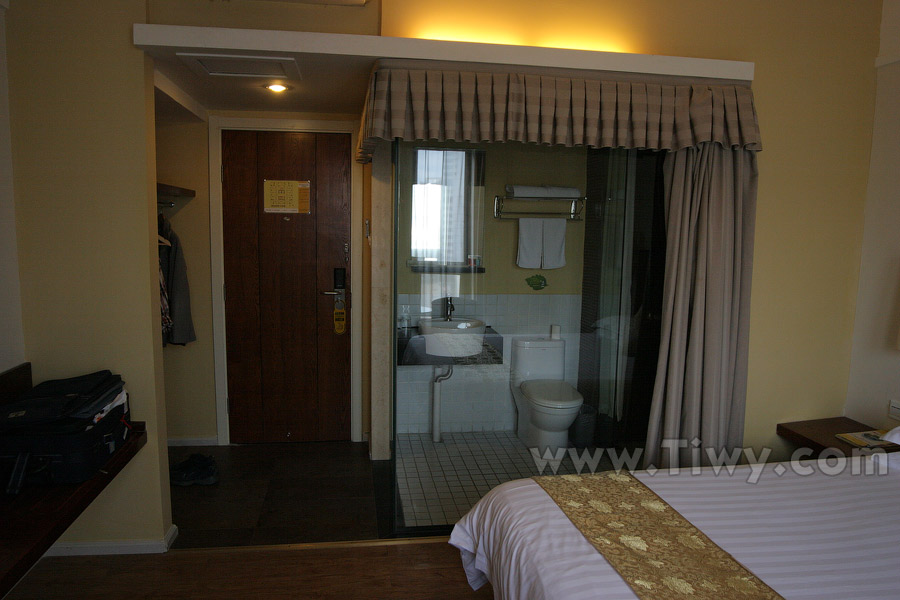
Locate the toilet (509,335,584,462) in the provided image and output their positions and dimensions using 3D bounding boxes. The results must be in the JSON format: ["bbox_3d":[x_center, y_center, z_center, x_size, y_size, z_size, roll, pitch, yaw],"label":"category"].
[{"bbox_3d":[0.659,0.643,4.485,0.397,0.679,0.633,0,12,-15],"label":"toilet"}]

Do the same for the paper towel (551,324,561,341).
[{"bbox_3d":[0.690,0.214,4.439,0.071,0.105,0.005,-1,5,-8],"label":"paper towel"}]

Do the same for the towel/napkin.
[{"bbox_3d":[0.583,-0.493,4.358,0.531,0.546,0.082,1,4,-8],"label":"towel/napkin"}]
